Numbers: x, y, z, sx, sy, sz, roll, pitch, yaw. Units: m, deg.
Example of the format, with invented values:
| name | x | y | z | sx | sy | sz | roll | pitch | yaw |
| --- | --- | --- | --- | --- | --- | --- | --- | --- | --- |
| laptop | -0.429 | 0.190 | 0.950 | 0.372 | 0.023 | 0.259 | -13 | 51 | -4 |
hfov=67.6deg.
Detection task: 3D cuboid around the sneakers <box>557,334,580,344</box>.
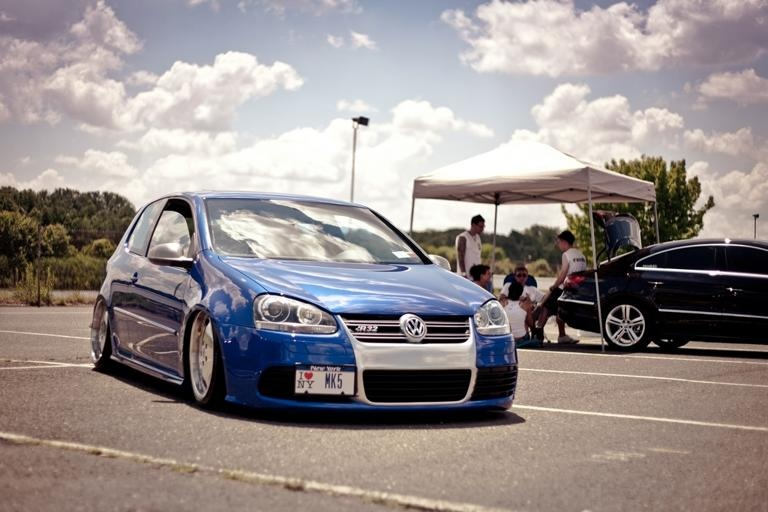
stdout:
| name | x | y | z | sx | sy | sz | roll | pitch | yaw |
| --- | --- | --- | --- | --- | --- | --- | --- | --- | --- |
| sneakers | 3.977 | 1.762 | 12.354 | 0.431 | 0.184 | 0.186 | 1 | 1 | -5 |
